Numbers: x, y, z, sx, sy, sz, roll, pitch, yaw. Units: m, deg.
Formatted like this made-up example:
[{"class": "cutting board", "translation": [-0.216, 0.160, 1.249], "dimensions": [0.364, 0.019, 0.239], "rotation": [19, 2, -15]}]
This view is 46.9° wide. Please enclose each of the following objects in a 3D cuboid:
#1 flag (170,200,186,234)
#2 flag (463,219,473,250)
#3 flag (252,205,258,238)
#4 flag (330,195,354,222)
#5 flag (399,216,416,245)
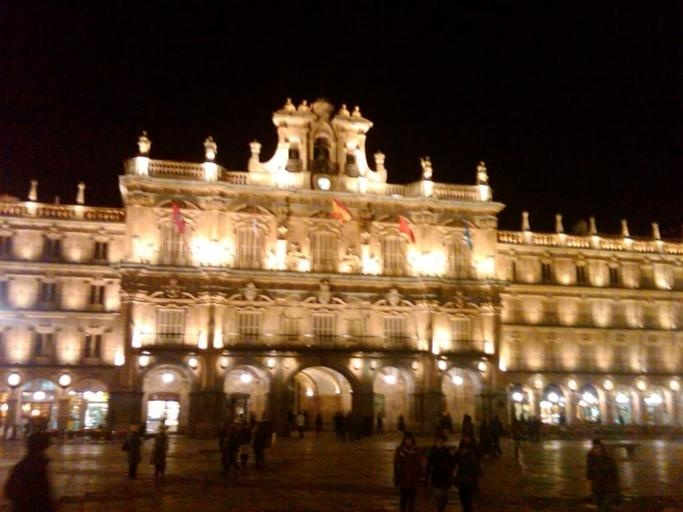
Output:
[{"class": "flag", "translation": [-11.023, -2.786, 53.630], "dimensions": [0.989, 2.255, 1.497], "rotation": [3, -15, -9]}, {"class": "flag", "translation": [9.514, -1.626, 58.999], "dimensions": [0.686, 2.052, 1.575], "rotation": [-2, -15, 9]}, {"class": "flag", "translation": [-5.979, -2.017, 55.346], "dimensions": [0.502, 1.194, 0.554], "rotation": [2, -15, -6]}, {"class": "flag", "translation": [-0.002, -3.403, 56.575], "dimensions": [1.243, 1.810, 0.843], "rotation": [5, -58, -30]}, {"class": "flag", "translation": [4.868, -1.975, 57.926], "dimensions": [0.764, 2.004, 1.453], "rotation": [-13, -20, 42]}]
